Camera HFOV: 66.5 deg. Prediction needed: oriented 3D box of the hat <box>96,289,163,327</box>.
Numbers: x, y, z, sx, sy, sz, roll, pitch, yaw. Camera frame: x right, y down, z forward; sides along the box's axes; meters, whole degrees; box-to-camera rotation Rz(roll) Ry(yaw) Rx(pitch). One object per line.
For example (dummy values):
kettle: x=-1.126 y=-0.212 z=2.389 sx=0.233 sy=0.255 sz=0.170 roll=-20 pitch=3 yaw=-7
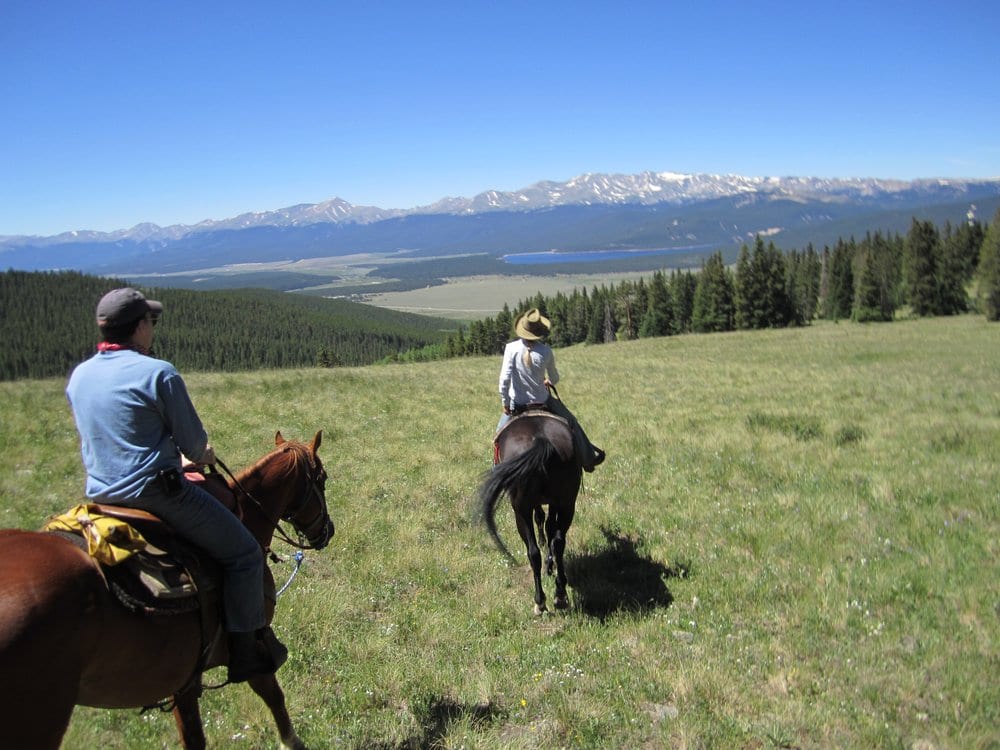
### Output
hat: x=-4.224 y=-0.791 z=8.766 sx=0.434 sy=0.384 sz=0.660 roll=9 pitch=22 yaw=28

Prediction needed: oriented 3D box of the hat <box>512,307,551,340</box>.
hat: x=0.528 y=-0.865 z=13.290 sx=0.598 sy=0.598 sz=0.543 roll=-3 pitch=12 yaw=10
